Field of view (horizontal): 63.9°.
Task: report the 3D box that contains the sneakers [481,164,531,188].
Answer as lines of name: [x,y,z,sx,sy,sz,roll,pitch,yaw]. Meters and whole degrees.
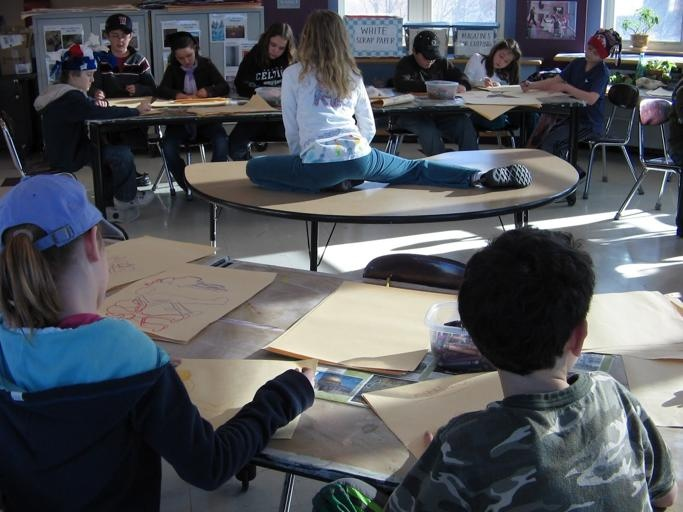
sneakers: [0.690,-0.326,2.284,0.177,0.075,0.100,-9,25,8]

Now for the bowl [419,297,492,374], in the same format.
bowl: [0.273,0.182,1.140,0.186,0.128,0.173,4,-8,1]

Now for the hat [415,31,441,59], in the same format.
hat: [0.777,-1.927,5.053,0.211,0.167,0.305,-25,50,-21]
